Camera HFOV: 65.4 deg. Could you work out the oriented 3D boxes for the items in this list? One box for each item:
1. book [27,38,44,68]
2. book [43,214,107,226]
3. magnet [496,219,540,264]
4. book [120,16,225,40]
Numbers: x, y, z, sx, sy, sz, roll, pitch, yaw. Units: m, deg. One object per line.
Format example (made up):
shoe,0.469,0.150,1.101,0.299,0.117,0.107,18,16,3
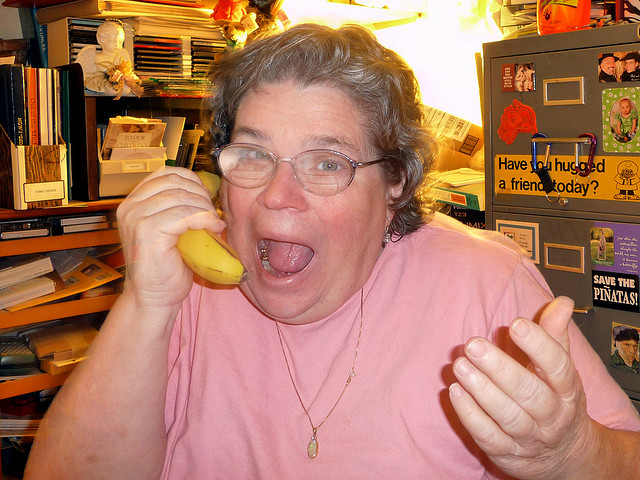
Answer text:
book,-1.300,-0.869,2.286,0.103,0.136,0.038,11,15,41
book,-1.037,-0.087,2.142,0.251,0.042,0.013,-9,15,-41
magnet,0.819,-0.023,2.086,0.255,0.197,0.112,-3,16,14
book,-0.710,-0.993,2.398,0.248,0.099,0.511,14,19,42
